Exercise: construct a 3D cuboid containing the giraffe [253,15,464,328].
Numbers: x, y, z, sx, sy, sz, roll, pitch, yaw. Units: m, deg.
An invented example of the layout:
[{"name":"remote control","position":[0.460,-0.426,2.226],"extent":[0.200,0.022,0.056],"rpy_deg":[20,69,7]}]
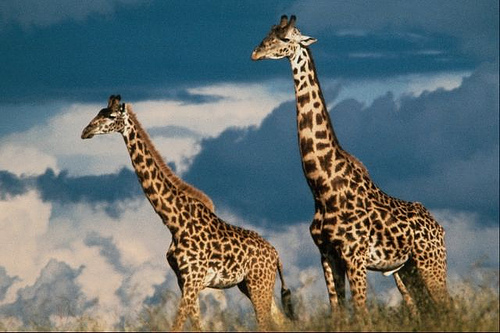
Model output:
[{"name":"giraffe","position":[2.090,0.047,17.638],"extent":[3.073,5.960,1.665],"rpy_deg":[-3,10,9]}]
